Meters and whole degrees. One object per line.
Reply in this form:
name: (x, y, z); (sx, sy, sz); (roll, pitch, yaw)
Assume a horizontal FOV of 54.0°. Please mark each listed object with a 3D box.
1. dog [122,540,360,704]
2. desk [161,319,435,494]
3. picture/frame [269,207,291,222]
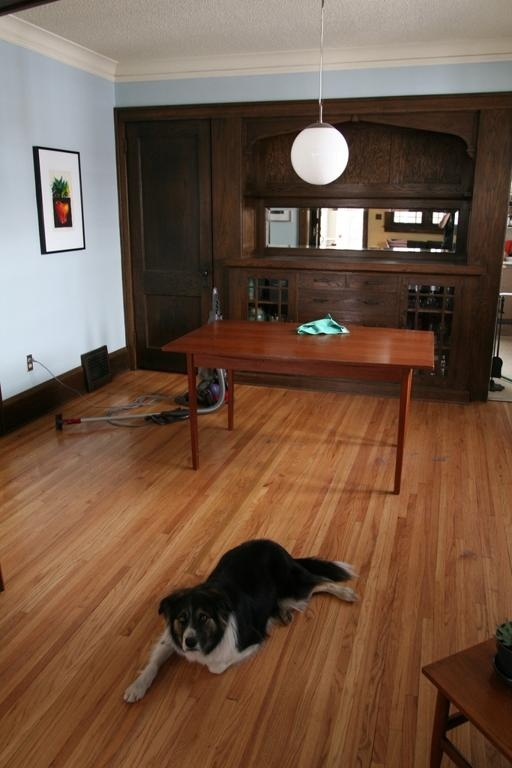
dog: (-0.031, 0.700, 1.671); (0.357, 0.232, 0.557); (-4, 19, 27)
desk: (0.276, 0.117, 3.046); (1.460, 0.855, 0.821); (4, 12, 20)
picture/frame: (0.224, -1.676, 4.981); (0.239, 0.126, 0.026); (3, 11, 13)
